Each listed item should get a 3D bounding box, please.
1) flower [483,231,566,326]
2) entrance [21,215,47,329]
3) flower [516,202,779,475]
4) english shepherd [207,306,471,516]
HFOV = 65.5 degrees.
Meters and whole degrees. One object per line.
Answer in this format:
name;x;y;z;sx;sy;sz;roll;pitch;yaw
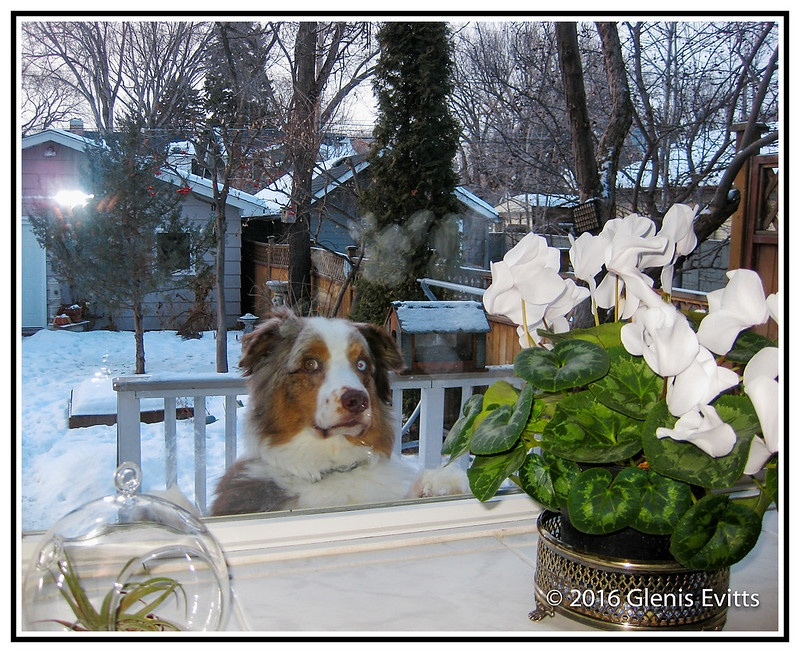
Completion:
flower;0.203;-0.057;0.931;0.052;0.131;0.123;9;16;-37
entrance;-0.813;-0.117;1.388;0.055;0.237;0.019;0;8;-5
flower;0.333;0.002;0.863;0.341;0.342;0.291;2;9;10
english shepherd;-0.183;0.236;1.696;0.654;0.499;0.431;2;-9;-21
